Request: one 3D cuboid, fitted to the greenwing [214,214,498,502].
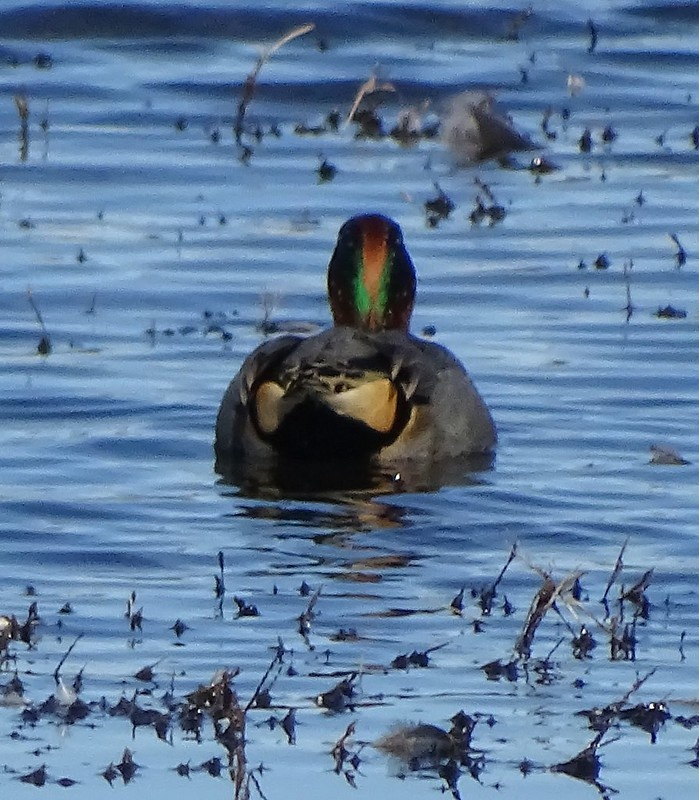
[{"bbox_3d":[0.055,-0.238,9.084,1.303,1.262,1.224,-4,14,-21],"label":"greenwing"}]
